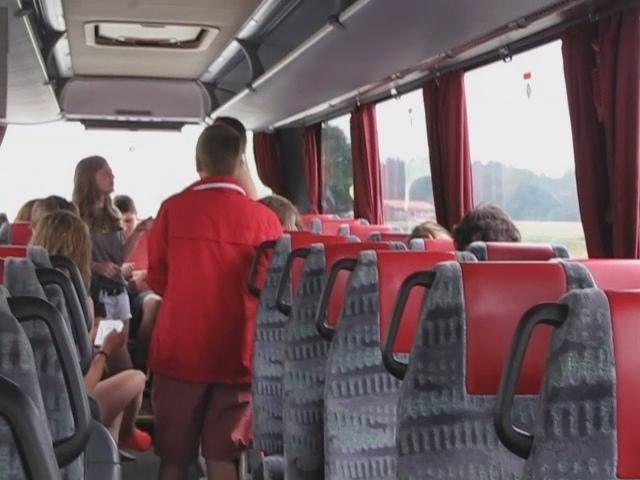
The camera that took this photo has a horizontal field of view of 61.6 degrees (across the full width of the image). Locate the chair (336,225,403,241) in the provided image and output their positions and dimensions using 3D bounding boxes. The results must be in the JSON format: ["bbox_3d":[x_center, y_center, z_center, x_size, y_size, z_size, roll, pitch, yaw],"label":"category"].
[{"bbox_3d":[0.362,-0.044,4.067,0.286,0.115,0.206,10,-5,-28],"label":"chair"}]

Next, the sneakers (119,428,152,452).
[{"bbox_3d":[-1.057,1.145,3.073,0.173,0.081,0.089,0,4,-35],"label":"sneakers"}]
